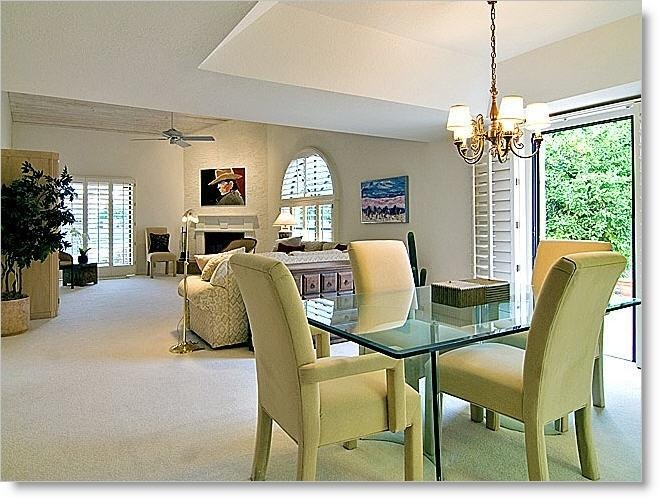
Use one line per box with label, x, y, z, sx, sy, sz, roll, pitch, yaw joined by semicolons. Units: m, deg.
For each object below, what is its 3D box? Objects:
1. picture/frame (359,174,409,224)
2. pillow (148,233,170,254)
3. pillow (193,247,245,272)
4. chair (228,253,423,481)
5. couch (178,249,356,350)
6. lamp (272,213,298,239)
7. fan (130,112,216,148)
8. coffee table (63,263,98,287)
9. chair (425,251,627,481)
picture/frame;0.824;-0.737;6.778;0.078;0.647;0.900;-8;8;-42
pillow;-3.835;-0.141;10.156;0.448;0.426;0.466;-3;7;-22
pillow;-1.245;0.095;5.109;0.426;0.133;0.443;-3;-1;-30
chair;-0.087;0.518;2.858;1.117;1.599;1.102;-1;2;-27
couch;-0.771;0.511;4.925;1.216;0.749;1.221;2;-3;-25
lamp;-0.847;-0.453;8.895;0.378;0.561;1.445;-1;7;-5
fan;-2.629;-1.957;7.500;1.112;0.327;1.172;1;0;-45
coffee table;-4.833;0.493;8.776;0.490;0.483;0.495;3;4;39
chair;1.078;0.643;2.517;0.611;1.210;0.862;-4;4;-33
